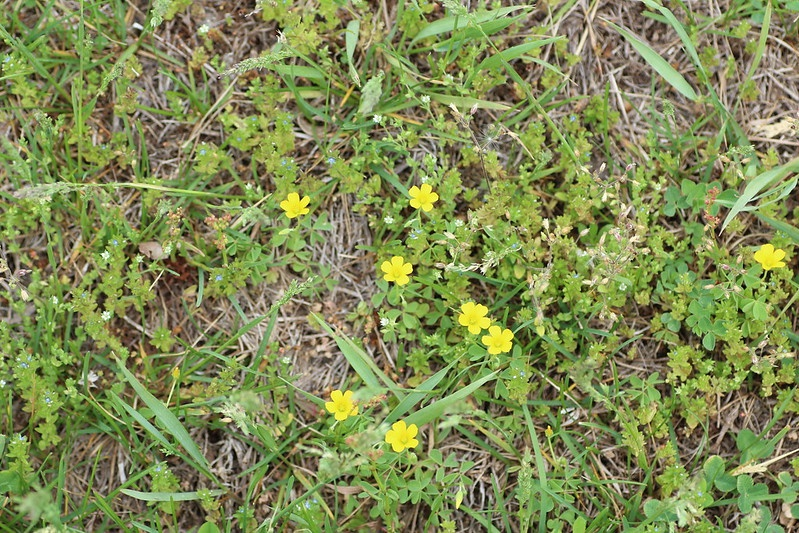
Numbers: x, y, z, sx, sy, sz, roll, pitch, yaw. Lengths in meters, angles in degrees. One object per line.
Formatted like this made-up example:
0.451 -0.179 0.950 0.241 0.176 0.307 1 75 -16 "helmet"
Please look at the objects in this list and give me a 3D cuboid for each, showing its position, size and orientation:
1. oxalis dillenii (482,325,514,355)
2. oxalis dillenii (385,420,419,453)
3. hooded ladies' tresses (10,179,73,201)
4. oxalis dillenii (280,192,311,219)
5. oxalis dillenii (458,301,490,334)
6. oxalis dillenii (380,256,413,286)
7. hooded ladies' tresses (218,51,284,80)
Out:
0.602 0.453 4.159 0.183 0.143 0.162 -13 70 -2 "oxalis dillenii"
0.015 1.017 4.041 0.198 0.167 0.158 -15 70 -3 "oxalis dillenii"
-2.230 -0.470 4.211 0.450 0.130 0.143 -6 86 29 "hooded ladies' tresses"
-0.671 -0.387 4.377 0.163 0.087 0.175 -40 81 8 "oxalis dillenii"
0.474 0.344 4.249 0.210 0.221 0.203 3 70 4 "oxalis dillenii"
-0.024 0.025 4.321 0.196 0.182 0.210 1 70 3 "oxalis dillenii"
-0.966 -1.307 4.428 0.135 0.177 0.622 21 30 38 "hooded ladies' tresses"
